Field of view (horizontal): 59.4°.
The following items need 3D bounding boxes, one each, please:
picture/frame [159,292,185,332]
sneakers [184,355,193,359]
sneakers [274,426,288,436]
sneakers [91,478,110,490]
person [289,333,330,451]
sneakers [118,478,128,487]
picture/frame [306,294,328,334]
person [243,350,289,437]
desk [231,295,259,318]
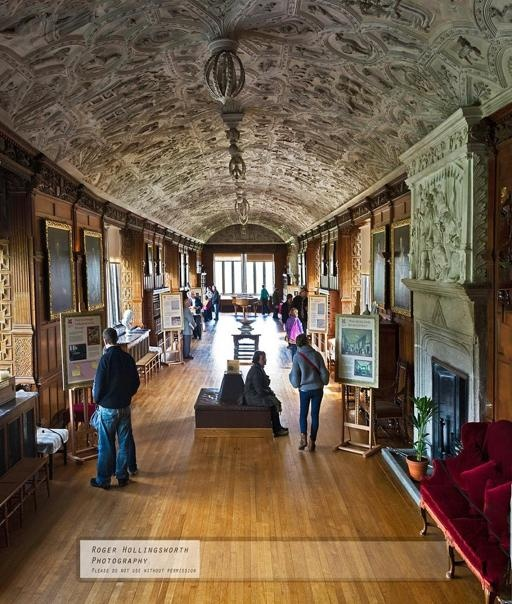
[{"bbox_3d":[-2.315,0.246,12.486,0.631,1.060,0.480,0,2,-9],"label":"picture/frame"},{"bbox_3d":[-2.047,1.674,13.767,0.267,0.115,0.471,0,2,-8],"label":"sneakers"},{"bbox_3d":[0.410,2.041,7.090,0.206,0.094,0.105,-4,6,-10],"label":"sneakers"},{"bbox_3d":[-1.785,2.104,5.197,0.209,0.093,0.103,23,2,7],"label":"sneakers"},{"bbox_3d":[0.751,1.281,6.269,0.529,1.672,0.363,0,2,9],"label":"person"},{"bbox_3d":[-1.532,2.102,5.208,0.140,0.098,0.047,4,-1,-16],"label":"sneakers"},{"bbox_3d":[1.631,0.308,11.743,0.598,1.002,0.662,1,2,24],"label":"picture/frame"},{"bbox_3d":[0.158,1.421,7.047,0.611,1.363,0.435,-1,2,-38],"label":"person"},{"bbox_3d":[-0.584,0.125,26.621,1.162,1.012,1.647,0,1,-11],"label":"desk"}]
